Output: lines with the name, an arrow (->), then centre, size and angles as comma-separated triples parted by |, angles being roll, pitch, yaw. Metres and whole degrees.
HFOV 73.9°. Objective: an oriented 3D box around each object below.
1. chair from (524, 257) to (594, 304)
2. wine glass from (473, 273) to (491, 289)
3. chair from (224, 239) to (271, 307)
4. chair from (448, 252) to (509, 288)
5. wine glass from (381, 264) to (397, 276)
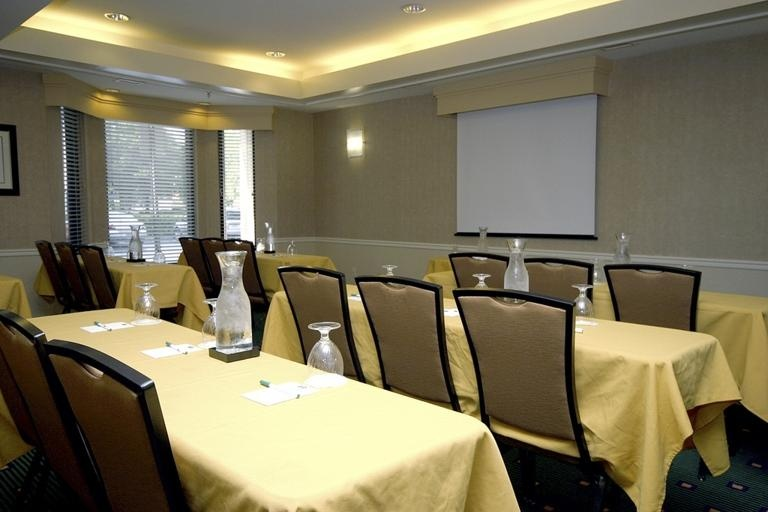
chair -> 1.140, 0.160, 3.322 | 0.249, 0.474, 0.264 | 7, 11, 43
wine glass -> 0.610, 0.147, 3.100 | 0.149, 0.101, 0.151 | 0, -3, -3
chair -> -1.483, 0.220, 5.592 | 0.430, 0.768, 0.685 | -4, 13, -19
chair -> 0.780, 0.056, 4.098 | 0.324, 0.471, 0.326 | 5, 8, 36
wine glass -> 0.040, 0.088, 3.752 | 0.149, 0.104, 0.152 | -1, -3, 2
